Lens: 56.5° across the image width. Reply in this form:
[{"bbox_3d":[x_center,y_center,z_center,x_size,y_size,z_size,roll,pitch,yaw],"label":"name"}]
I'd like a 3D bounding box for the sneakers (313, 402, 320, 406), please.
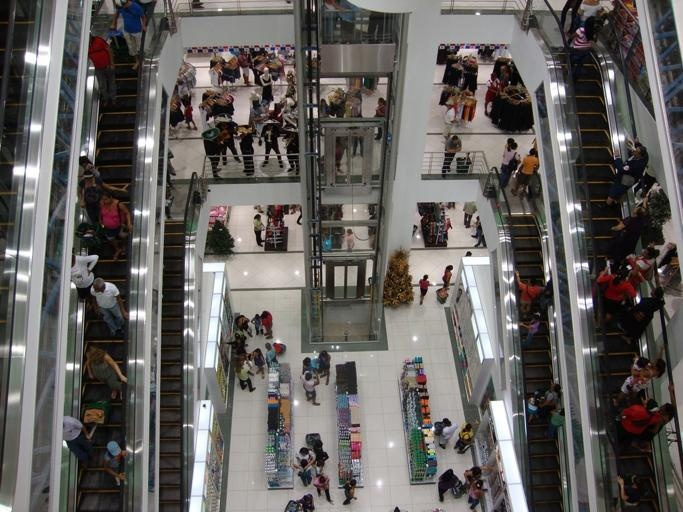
[{"bbox_3d":[-0.595,3.681,15.789,0.175,0.120,0.060,-7,59,-4],"label":"sneakers"}]

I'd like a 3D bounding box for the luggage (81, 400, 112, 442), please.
[{"bbox_3d":[-4.184,2.853,10.964,0.438,0.179,0.588,0,56,3],"label":"luggage"}]

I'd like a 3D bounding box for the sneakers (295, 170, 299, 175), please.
[{"bbox_3d":[-1.072,-2.063,15.734,0.120,0.123,0.092,-1,107,-4],"label":"sneakers"}]

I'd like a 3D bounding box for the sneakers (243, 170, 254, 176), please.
[{"bbox_3d":[-2.288,-2.057,15.715,0.239,0.055,0.127,-5,95,-5],"label":"sneakers"}]

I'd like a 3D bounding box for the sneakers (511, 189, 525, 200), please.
[{"bbox_3d":[4.189,-1.446,14.965,0.115,0.236,0.353,12,57,-24],"label":"sneakers"}]
